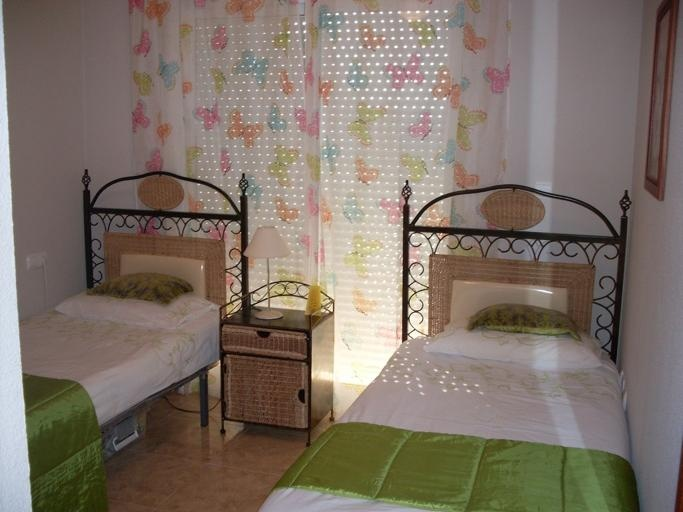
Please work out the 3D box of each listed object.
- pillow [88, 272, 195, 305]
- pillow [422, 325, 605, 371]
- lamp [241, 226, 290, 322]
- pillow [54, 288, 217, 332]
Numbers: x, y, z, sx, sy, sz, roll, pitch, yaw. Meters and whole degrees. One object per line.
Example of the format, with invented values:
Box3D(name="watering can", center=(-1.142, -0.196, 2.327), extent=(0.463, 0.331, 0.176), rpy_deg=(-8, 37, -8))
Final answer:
Box3D(name="pillow", center=(-1.395, 0.225, 3.666), extent=(0.387, 0.103, 0.326), rpy_deg=(6, 10, 10))
Box3D(name="pillow", center=(1.017, 0.519, 2.960), extent=(0.611, 0.111, 0.365), rpy_deg=(5, 12, 20))
Box3D(name="lamp", center=(-0.522, 0.116, 3.675), extent=(0.334, 0.696, 0.342), rpy_deg=(-10, 25, -22))
Box3D(name="pillow", center=(-1.407, 0.372, 3.564), extent=(0.683, 0.125, 0.427), rpy_deg=(7, 10, 13))
